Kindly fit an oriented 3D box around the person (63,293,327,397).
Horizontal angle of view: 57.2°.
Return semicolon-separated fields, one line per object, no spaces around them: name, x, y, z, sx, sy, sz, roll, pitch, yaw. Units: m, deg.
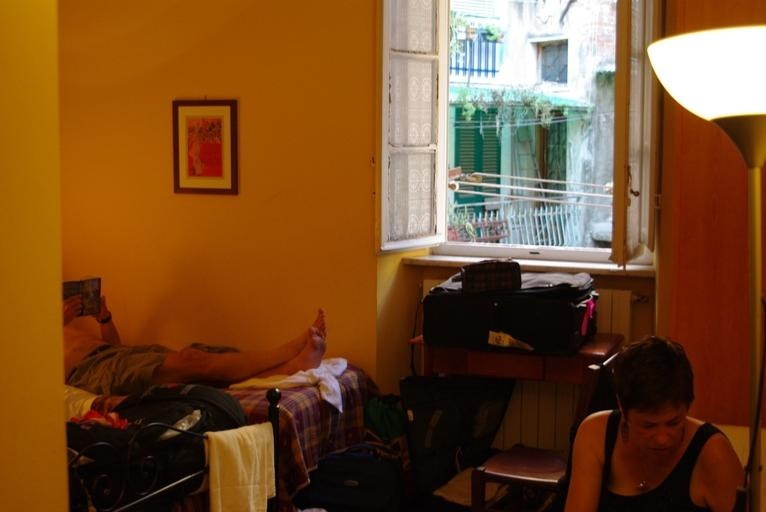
person;-0.993;0.497;3.471;1.371;0.551;0.582;-3;2;10

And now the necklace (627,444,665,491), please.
necklace;0.744;0.586;1.989;0.108;0.118;0.034;-5;-2;37

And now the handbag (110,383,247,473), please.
handbag;-0.715;0.587;2.535;0.247;0.126;0.336;2;2;29

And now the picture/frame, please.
picture/frame;-0.979;-0.616;3.878;0.483;0.670;0.062;1;5;18

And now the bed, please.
bed;-0.628;0.706;2.720;0.770;0.334;0.810;1;1;24
